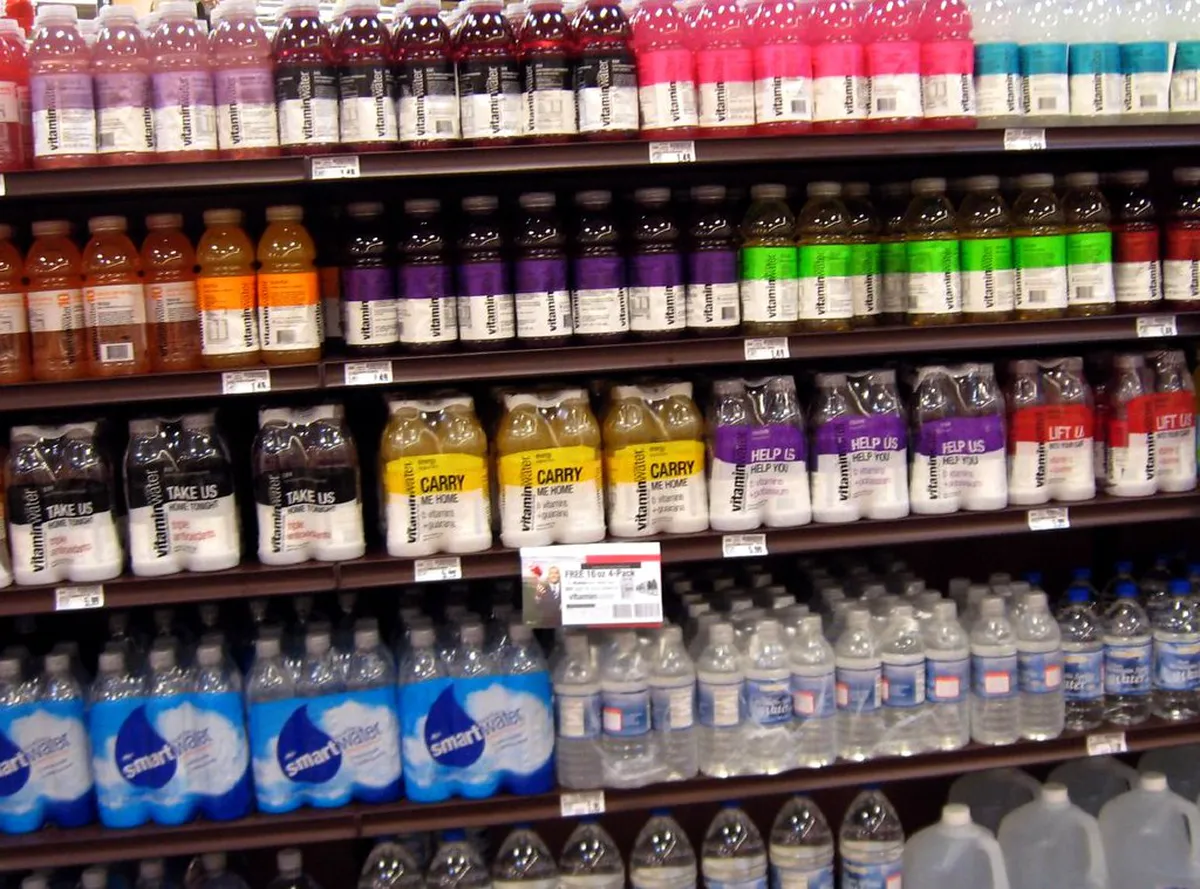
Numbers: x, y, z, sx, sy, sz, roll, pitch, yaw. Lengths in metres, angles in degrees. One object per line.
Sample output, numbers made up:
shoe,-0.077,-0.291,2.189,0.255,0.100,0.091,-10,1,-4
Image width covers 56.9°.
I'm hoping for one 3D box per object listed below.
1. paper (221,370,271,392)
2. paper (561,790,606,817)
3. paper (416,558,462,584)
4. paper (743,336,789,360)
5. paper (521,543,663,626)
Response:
paper,-0.969,-0.172,3.061,0.100,0.068,0.020,-2,-5,-3
paper,-0.048,1.033,3.156,0.158,0.064,0.066,0,-22,-4
paper,-0.451,0.356,3.117,0.137,0.041,0.029,-6,5,-7
paper,0.478,-0.278,3.171,0.139,0.062,0.028,-7,5,-14
paper,0.039,0.420,3.250,0.474,0.240,0.261,-7,-12,34
